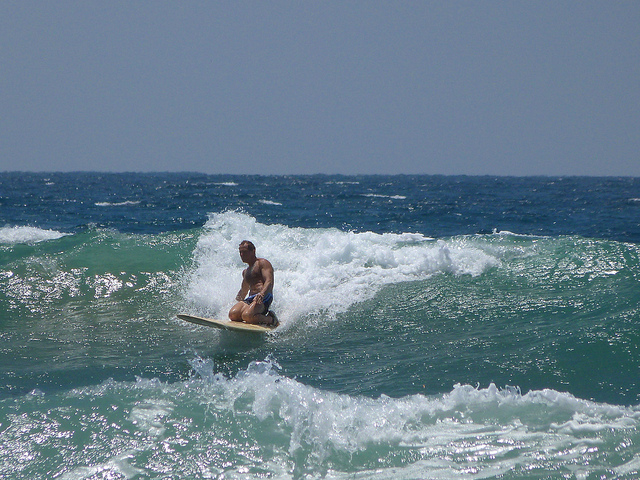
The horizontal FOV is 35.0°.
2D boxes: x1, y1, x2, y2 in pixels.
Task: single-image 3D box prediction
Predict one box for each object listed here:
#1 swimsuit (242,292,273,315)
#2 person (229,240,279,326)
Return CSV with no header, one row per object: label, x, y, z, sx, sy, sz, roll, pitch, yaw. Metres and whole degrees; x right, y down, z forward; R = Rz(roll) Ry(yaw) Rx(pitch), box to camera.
swimsuit,-1.257,1.290,21.061,0.553,0.285,0.409,14,5,-46
person,-1.441,0.994,21.901,0.702,0.790,1.524,20,31,-24
